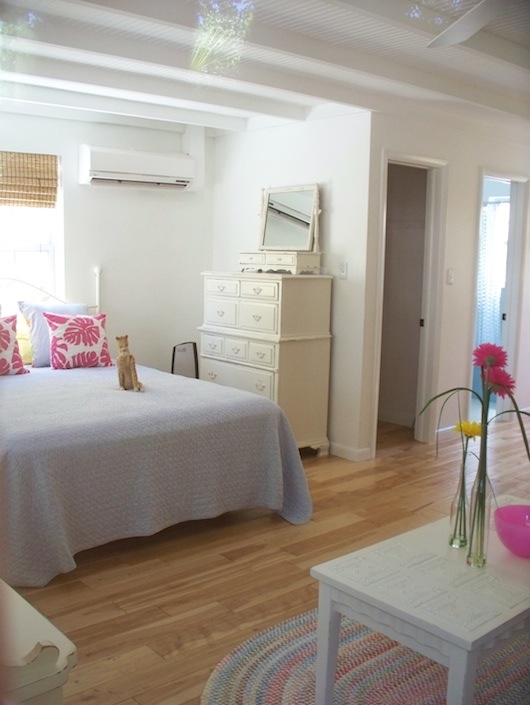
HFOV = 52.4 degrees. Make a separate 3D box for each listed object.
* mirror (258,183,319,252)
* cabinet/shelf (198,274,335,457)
[{"bbox_3d":[0.176,-1.022,4.109,0.112,0.495,0.600,-5,10,-39],"label":"mirror"},{"bbox_3d":[0.067,0.086,3.566,0.597,1.415,0.988,-8,16,-38],"label":"cabinet/shelf"}]
